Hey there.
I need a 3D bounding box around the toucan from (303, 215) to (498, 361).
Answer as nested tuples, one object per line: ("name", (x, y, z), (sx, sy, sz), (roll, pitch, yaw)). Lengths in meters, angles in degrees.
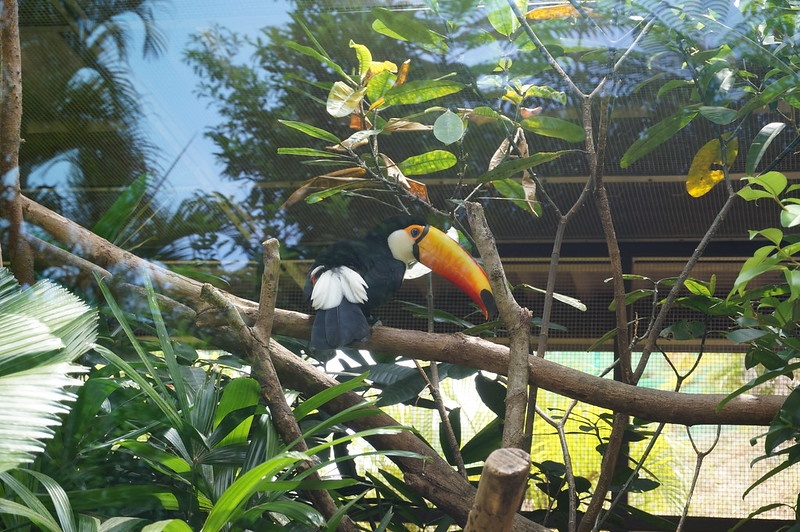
("toucan", (-0.034, 0.050, 5.118), (0.972, 0.455, 0.540), (2, 13, -43))
